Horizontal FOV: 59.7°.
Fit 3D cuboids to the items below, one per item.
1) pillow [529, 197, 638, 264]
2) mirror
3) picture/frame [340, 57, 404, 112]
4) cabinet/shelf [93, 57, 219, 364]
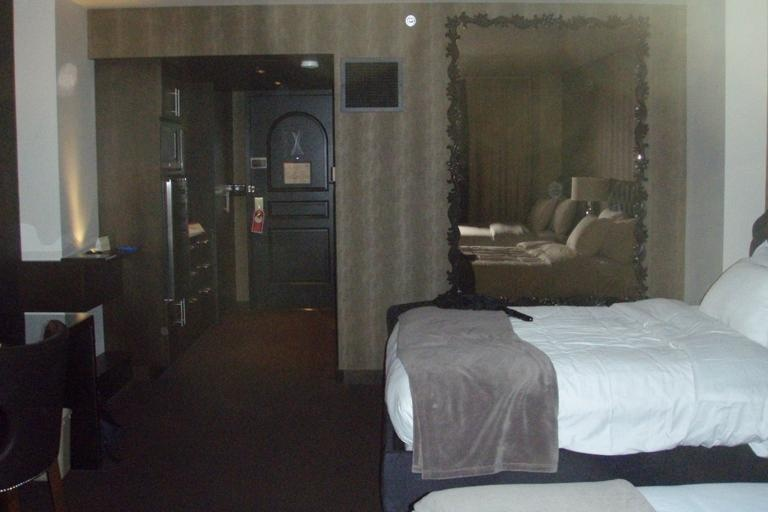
[{"bbox_3d":[1.675,-0.192,5.530,0.647,0.227,0.505,-4,37,10],"label":"pillow"},{"bbox_3d":[1.264,-1.039,5.118,1.729,2.438,0.035,0,-30,10],"label":"mirror"},{"bbox_3d":[-0.106,-1.396,5.479,0.502,0.415,0.058,-4,15,-16],"label":"picture/frame"},{"bbox_3d":[-2.046,-0.411,5.864,0.724,2.730,2.351,-1,8,-5],"label":"cabinet/shelf"}]
